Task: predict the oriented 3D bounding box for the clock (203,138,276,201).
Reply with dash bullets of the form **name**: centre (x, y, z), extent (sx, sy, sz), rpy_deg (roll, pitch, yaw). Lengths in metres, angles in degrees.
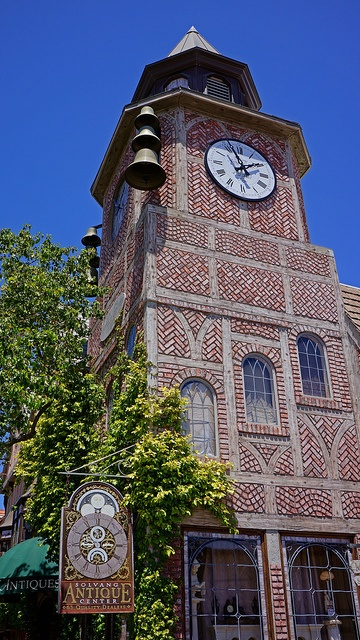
- **clock**: centre (1.490, -3.865, 16.145), extent (1.794, 1.887, 0.255), rpy_deg (12, -34, -30)
